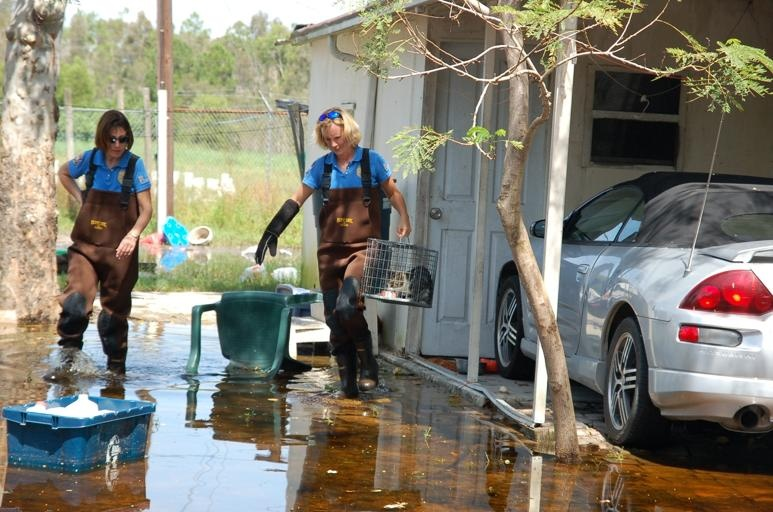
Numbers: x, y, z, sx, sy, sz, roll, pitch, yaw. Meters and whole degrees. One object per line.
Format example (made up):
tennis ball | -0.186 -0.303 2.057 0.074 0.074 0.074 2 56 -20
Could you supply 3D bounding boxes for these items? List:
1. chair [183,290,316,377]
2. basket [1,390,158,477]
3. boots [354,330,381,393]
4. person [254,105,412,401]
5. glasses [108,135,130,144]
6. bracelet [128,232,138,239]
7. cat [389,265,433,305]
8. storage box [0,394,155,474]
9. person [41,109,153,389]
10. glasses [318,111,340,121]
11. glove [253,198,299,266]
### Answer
chair | -1.462 0.872 8.844 0.843 0.676 1.074 2 5 15
basket | -2.282 1.310 6.053 0.608 0.376 0.859 2 -1 27
boots | -0.214 1.087 8.275 0.201 0.532 0.555 -12 9 7
person | -0.455 -0.032 8.072 1.316 2.768 0.731 3 8 1
glasses | -2.598 -1.132 8.057 0.082 0.072 0.205 8 10 34
bracelet | -2.469 -0.194 8.054 0.062 0.035 0.083 5 -7 -4
cat | 0.210 0.238 7.836 0.484 0.357 0.274 14 -1 13
storage box | -2.266 1.325 6.055 0.609 0.373 0.858 2 -1 27
person | -2.826 -0.127 8.241 0.905 2.638 0.646 1 8 -12
glasses | -0.563 -1.355 7.999 0.252 0.110 0.106 10 11 42
glove | -1.058 -0.224 8.383 0.318 0.234 0.810 -29 -26 -22
